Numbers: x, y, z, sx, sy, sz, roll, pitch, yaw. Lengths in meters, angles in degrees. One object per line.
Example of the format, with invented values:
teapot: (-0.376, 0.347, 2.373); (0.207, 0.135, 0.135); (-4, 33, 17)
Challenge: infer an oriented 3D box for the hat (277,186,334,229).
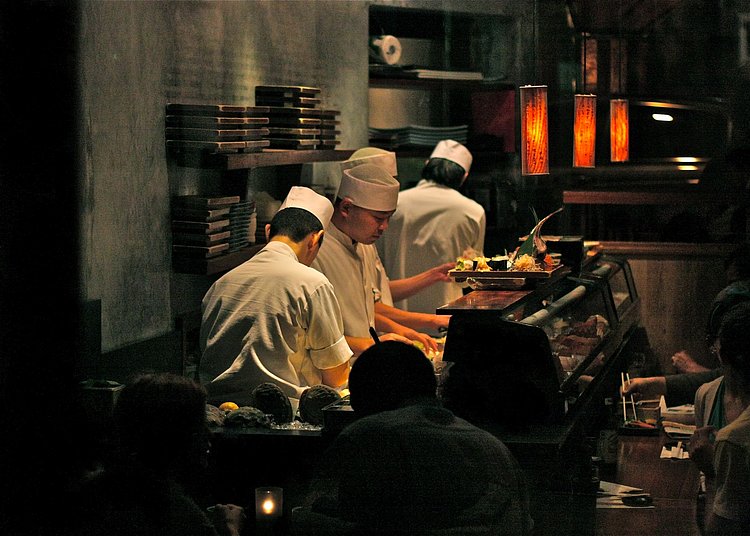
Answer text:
hat: (-0.244, -0.245, 3.171); (0.189, 0.113, 0.147); (28, -7, -19)

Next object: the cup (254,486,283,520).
cup: (-0.363, 0.796, 2.887); (0.113, 0.103, 0.098); (1, 1, 2)

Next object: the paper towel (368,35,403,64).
paper towel: (0.044, -0.903, 3.498); (0.047, 0.122, 0.091); (5, 38, 47)

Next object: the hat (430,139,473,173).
hat: (0.383, -0.583, 4.241); (0.131, 0.165, 0.180); (12, 33, 16)

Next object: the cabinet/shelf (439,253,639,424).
cabinet/shelf: (0.649, 0.226, 3.036); (0.561, 0.562, 0.920); (5, 5, 40)

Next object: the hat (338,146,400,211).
hat: (-0.019, -0.364, 3.459); (0.207, 0.206, 0.275); (6, 3, -13)
